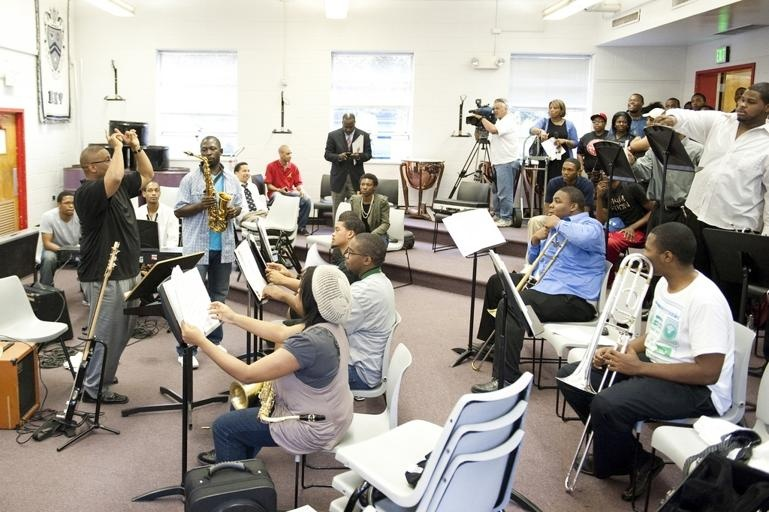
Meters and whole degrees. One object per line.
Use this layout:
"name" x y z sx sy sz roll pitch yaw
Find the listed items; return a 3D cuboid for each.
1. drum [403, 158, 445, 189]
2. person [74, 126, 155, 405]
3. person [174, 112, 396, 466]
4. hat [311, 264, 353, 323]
"drum" 0.656 -1.434 10.461 0.563 0.384 0.575 1 3 0
"person" -2.294 0.047 4.958 0.467 2.078 0.813 1 6 -6
"person" -0.473 0.611 3.898 0.767 1.522 1.176 0 10 -26
"hat" -0.321 0.244 3.569 0.229 0.369 0.148 -2 14 -8
